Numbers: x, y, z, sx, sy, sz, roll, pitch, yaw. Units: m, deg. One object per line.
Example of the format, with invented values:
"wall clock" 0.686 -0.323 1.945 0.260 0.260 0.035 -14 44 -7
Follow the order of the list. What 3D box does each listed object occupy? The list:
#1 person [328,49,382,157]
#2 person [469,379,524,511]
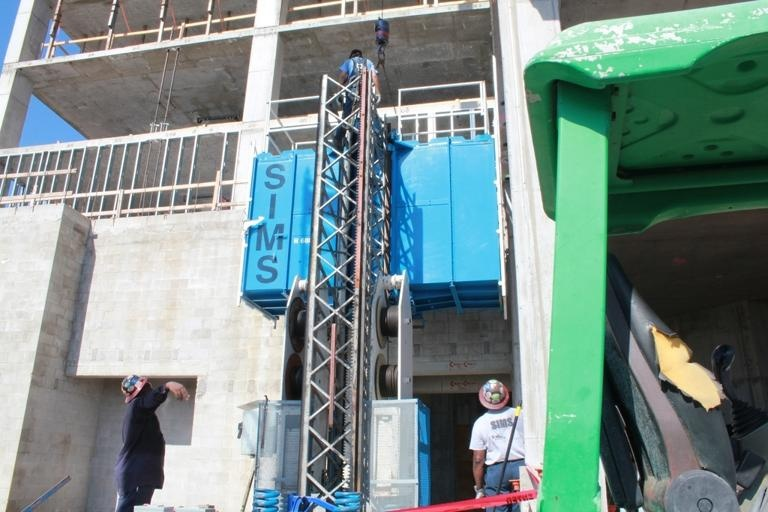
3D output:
"person" -0.601 -3.490 17.666 0.948 2.394 0.764 5 -9 -9
"person" 1.908 3.126 13.433 0.877 2.255 1.136 -2 -24 5
